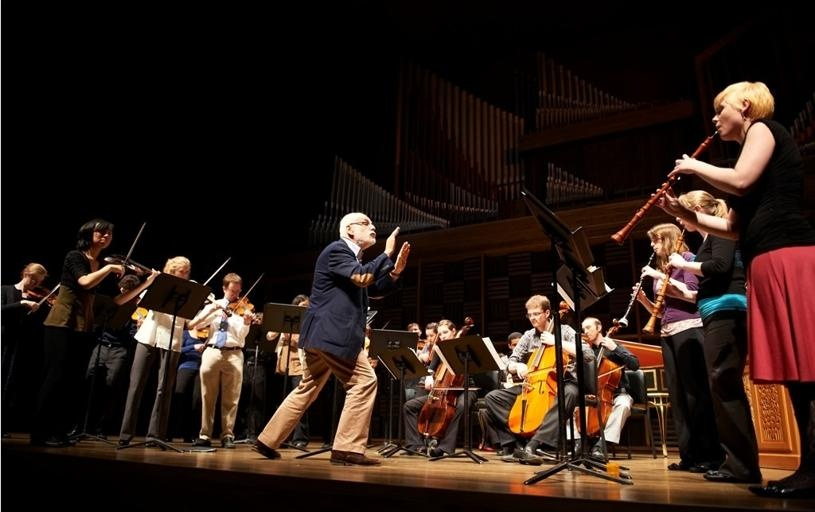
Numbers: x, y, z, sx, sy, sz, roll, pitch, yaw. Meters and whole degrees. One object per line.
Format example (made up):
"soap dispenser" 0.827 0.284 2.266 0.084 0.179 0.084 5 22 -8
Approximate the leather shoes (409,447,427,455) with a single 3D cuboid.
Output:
"leather shoes" 0.137 2.519 8.076 0.250 0.125 0.252 3 -22 -1

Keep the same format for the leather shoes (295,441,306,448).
"leather shoes" -1.488 2.658 8.799 0.120 0.052 0.099 -11 -16 33

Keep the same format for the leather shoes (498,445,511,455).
"leather shoes" 1.202 2.468 7.916 0.073 0.140 0.207 10 -15 -20

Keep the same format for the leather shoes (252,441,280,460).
"leather shoes" -1.582 2.174 6.977 0.171 0.083 0.256 -37 -61 20

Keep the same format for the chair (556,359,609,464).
"chair" 2.159 1.735 7.421 0.338 1.666 0.691 5 -6 -16

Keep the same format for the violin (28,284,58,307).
"violin" -5.431 0.608 9.418 0.636 0.096 0.256 -16 3 -1

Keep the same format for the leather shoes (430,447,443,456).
"leather shoes" 0.363 2.395 7.654 0.155 0.101 0.086 -3 -9 1

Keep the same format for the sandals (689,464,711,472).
"sandals" 3.064 2.232 6.545 0.076 0.082 0.197 3 -23 -35

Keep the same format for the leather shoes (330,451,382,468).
"leather shoes" -0.561 2.150 6.677 0.570 0.262 0.188 0 -12 2

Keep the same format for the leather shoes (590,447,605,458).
"leather shoes" 2.287 2.349 7.440 0.141 0.136 0.212 -35 -28 13

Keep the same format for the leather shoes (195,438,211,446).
"leather shoes" -2.670 2.417 8.109 0.228 0.096 0.095 -8 -20 41

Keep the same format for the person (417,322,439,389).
"person" 0.349 1.418 9.358 0.174 0.806 0.334 20 -26 -20

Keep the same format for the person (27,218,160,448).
"person" -3.735 0.806 7.513 1.154 2.559 0.806 9 -17 -19

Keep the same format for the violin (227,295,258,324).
"violin" -2.306 0.784 8.820 0.268 0.126 0.473 -29 33 -24

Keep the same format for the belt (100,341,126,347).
"belt" -4.365 1.300 9.213 0.232 0.058 0.212 6 -4 -31

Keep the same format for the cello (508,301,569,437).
"cello" 1.805 1.346 7.968 0.339 1.872 0.716 30 -15 -14

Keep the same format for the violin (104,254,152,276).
"violin" -3.365 0.096 7.486 0.538 0.158 0.272 21 4 -6
